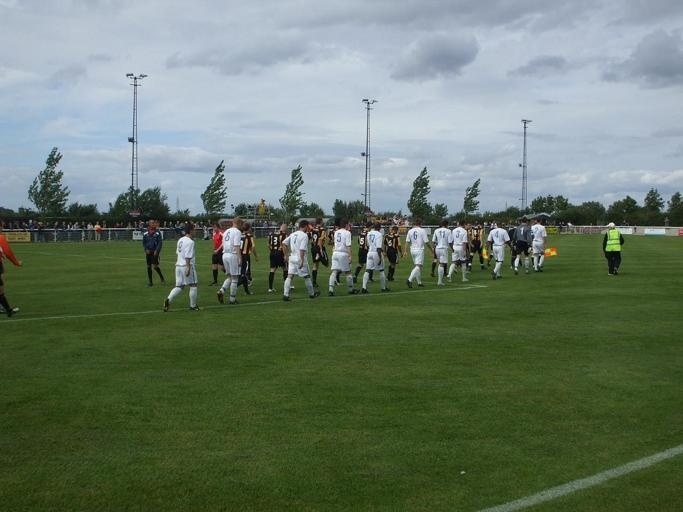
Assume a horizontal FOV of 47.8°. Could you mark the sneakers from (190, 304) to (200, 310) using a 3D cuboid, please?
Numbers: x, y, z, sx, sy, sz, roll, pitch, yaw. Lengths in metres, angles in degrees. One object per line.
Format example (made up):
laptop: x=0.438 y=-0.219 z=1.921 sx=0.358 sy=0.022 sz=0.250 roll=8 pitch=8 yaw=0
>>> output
sneakers: x=-3.291 y=1.145 z=17.145 sx=0.237 sy=0.100 sz=0.089 roll=0 pitch=2 yaw=43

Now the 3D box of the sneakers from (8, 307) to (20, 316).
sneakers: x=-6.846 y=1.155 z=16.187 sx=0.154 sy=0.210 sz=0.518 roll=-1 pitch=-7 yaw=-34
